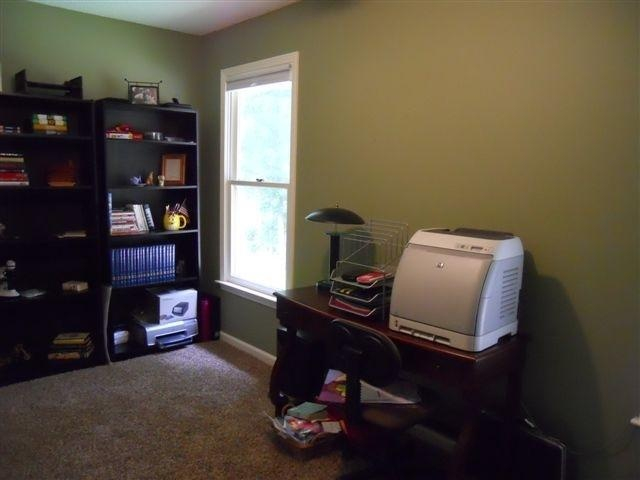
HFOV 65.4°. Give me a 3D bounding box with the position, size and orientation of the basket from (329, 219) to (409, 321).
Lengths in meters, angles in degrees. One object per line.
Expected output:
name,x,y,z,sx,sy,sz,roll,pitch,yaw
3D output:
basket,0.295,0.171,3.037,0.358,0.505,0.407,7,12,38

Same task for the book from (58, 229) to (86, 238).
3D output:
book,-2.045,-0.051,4.108,0.220,0.041,0.244,-7,17,-28

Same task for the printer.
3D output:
printer,-1.438,0.836,4.524,0.497,0.216,0.606,-1,2,-28

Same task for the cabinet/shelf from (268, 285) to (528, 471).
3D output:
cabinet/shelf,0.414,0.814,3.068,1.556,0.824,0.626,14,19,37

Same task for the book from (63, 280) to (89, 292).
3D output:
book,-2.017,0.388,4.106,0.197,0.068,0.108,-6,17,-27

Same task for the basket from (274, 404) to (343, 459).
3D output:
basket,-0.075,1.177,3.146,0.305,0.118,0.307,-10,24,-33

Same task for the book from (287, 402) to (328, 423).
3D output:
book,-0.069,1.117,3.230,0.130,0.036,0.131,-1,3,-30

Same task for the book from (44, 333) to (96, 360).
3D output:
book,-2.072,0.890,4.113,0.230,0.120,0.240,1,-1,-6

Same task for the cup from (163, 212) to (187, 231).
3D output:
cup,-1.306,-0.172,4.558,0.126,0.157,0.209,-2,-6,37

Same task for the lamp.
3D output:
lamp,0.095,0.042,3.400,0.489,0.742,0.488,1,3,2
